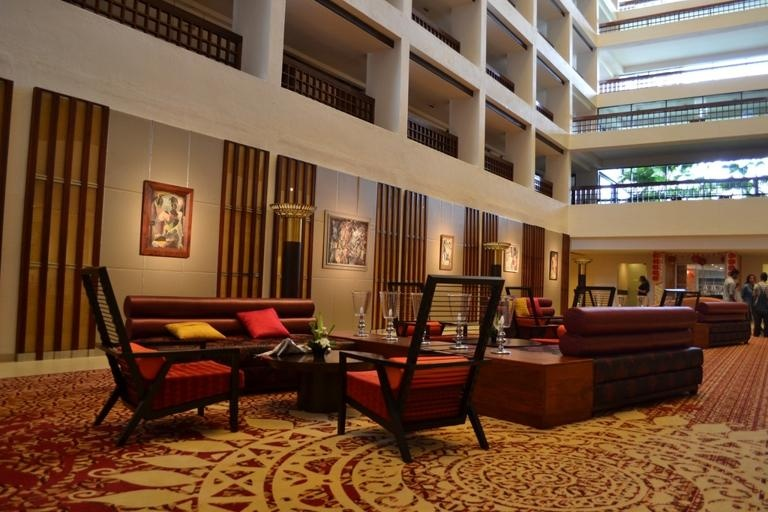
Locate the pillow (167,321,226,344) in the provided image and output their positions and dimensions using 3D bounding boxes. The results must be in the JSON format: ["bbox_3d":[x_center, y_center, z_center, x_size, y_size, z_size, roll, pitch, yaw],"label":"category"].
[{"bbox_3d":[-2.287,0.871,6.229,0.348,0.108,0.326,13,1,-44],"label":"pillow"}]

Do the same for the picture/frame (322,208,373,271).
[{"bbox_3d":[-0.737,-0.282,10.364,1.206,1.049,0.024,5,2,40],"label":"picture/frame"}]

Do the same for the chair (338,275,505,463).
[{"bbox_3d":[0.274,0.984,4.838,0.994,1.419,1.439,6,-9,-34],"label":"chair"}]

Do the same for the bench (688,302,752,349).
[{"bbox_3d":[7.674,1.504,11.922,1.352,0.913,0.482,1,3,-23],"label":"bench"}]

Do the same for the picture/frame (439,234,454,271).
[{"bbox_3d":[1.577,-0.102,13.202,0.043,0.814,0.622,1,3,-21],"label":"picture/frame"}]

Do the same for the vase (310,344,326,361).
[{"bbox_3d":[-0.676,0.989,5.387,0.138,0.104,0.139,3,-2,13],"label":"vase"}]

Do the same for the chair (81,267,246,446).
[{"bbox_3d":[-2.051,0.901,4.926,1.301,1.314,1.028,5,-7,-32],"label":"chair"}]

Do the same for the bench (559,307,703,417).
[{"bbox_3d":[2.829,1.229,6.357,1.954,1.131,1.015,2,-12,-30],"label":"bench"}]

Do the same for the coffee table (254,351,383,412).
[{"bbox_3d":[-0.736,1.160,5.399,0.844,0.396,0.830,1,-3,-20],"label":"coffee table"}]
